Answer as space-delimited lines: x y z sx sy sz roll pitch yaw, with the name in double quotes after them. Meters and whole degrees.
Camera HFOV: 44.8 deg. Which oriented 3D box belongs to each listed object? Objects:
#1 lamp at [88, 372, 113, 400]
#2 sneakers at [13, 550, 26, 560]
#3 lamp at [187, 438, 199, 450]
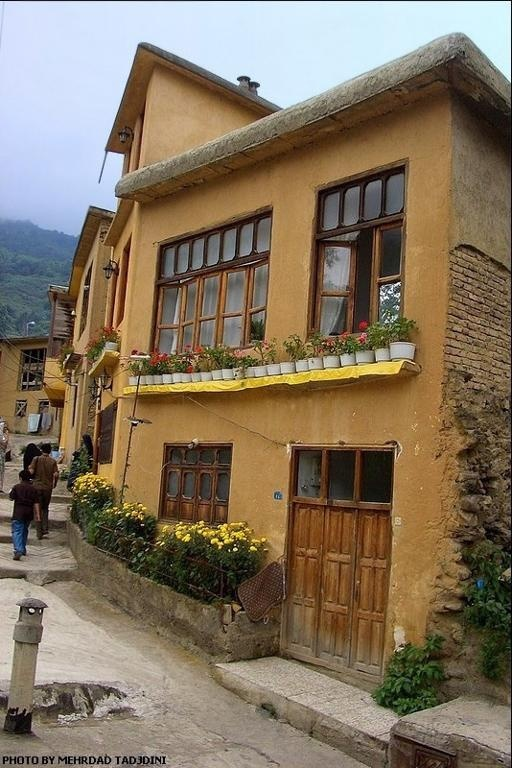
-3.362 0.034 13.410 0.291 0.518 0.666 6 -14 -23 "lamp"
-3.859 2.806 10.093 0.104 0.127 0.293 10 -47 -30 "sneakers"
-0.952 0.906 9.434 0.126 0.090 0.177 5 -10 -36 "lamp"
